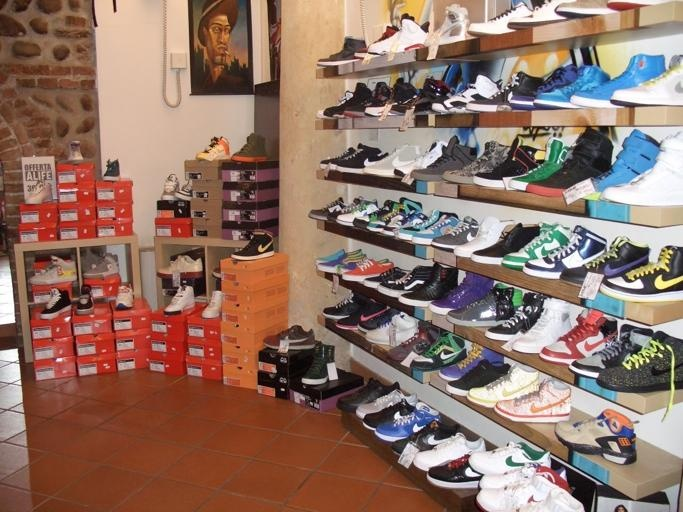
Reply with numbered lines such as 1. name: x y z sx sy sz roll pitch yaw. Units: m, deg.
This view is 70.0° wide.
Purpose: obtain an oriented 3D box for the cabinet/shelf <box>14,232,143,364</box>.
1. cabinet/shelf: -2.304 0.379 4.288 1.295 1.232 0.452 -4 6 -38

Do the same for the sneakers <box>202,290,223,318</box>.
1. sneakers: -1.039 0.374 3.965 0.173 0.243 0.300 -5 15 -15

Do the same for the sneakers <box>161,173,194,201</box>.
1. sneakers: -1.584 -0.704 4.833 0.245 0.159 0.413 0 9 -7

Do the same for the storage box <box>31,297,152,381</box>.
1. storage box: -2.053 0.726 4.091 0.907 0.507 0.167 -4 16 -14

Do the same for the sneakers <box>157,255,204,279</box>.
1. sneakers: -1.542 0.078 4.737 0.408 0.181 0.229 3 15 15

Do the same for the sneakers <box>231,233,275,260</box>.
1. sneakers: -0.675 -0.080 3.778 0.417 0.190 0.152 -6 11 -43

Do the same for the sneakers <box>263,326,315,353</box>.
1. sneakers: -0.369 0.623 3.689 0.459 0.162 0.152 1 -1 -7

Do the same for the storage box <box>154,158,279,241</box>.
1. storage box: -1.118 -0.531 4.604 0.833 0.544 0.437 10 20 31

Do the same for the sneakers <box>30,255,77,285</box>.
1. sneakers: -2.587 0.116 4.418 0.337 0.227 0.248 -6 16 -20

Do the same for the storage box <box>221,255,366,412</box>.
1. storage box: -0.382 0.575 3.663 1.178 0.926 0.515 6 10 34

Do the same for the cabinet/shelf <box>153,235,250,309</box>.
1. cabinet/shelf: -1.244 0.136 4.404 0.856 0.621 0.286 0 1 29

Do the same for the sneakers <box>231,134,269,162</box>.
1. sneakers: -0.813 -1.038 4.573 0.244 0.250 0.332 9 17 32

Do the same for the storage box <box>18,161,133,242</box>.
1. storage box: -2.381 -0.489 4.401 0.847 0.505 0.305 -4 9 -20

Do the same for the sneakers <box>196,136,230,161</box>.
1. sneakers: -1.228 -1.070 4.769 0.238 0.220 0.372 1 14 6
